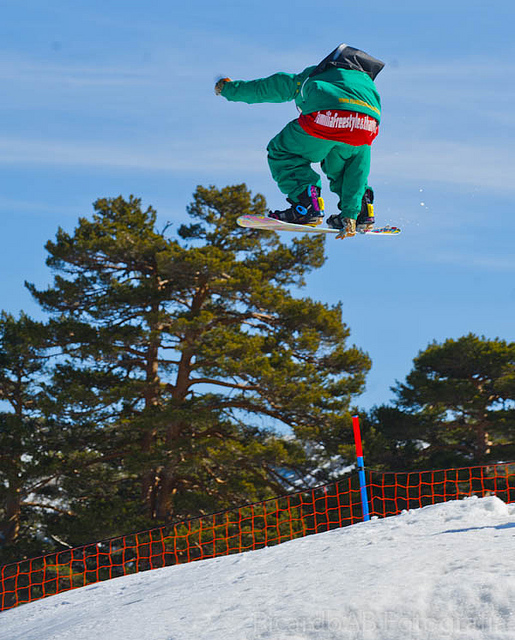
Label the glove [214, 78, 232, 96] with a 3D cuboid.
[{"bbox_3d":[-0.400,-2.835,15.942,0.178,0.211,0.176,0,-7,-8],"label":"glove"}]

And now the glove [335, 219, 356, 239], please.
[{"bbox_3d":[1.104,-1.117,16.154,0.243,0.262,0.456,-1,-7,4],"label":"glove"}]
